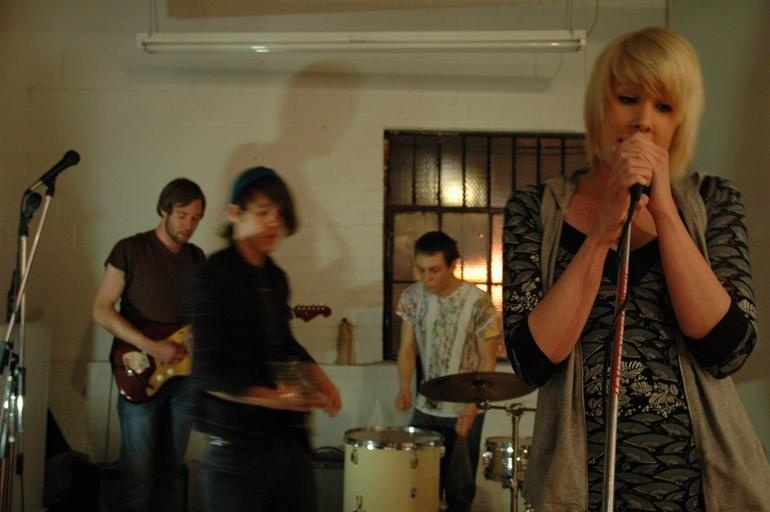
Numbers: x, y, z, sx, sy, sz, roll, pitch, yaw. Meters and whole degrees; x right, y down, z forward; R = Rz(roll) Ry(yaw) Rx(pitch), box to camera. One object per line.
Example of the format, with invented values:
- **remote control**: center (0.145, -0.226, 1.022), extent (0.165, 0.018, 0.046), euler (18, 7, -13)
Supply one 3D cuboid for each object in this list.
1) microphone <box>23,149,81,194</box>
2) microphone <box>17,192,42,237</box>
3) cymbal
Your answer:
- **microphone**: center (-2.338, -0.581, 6.732), extent (0.125, 0.140, 0.438), euler (-19, 26, 28)
- **microphone**: center (-2.359, -0.275, 6.378), extent (0.101, 0.309, 0.189), euler (17, 3, 10)
- **cymbal**: center (0.613, 0.853, 6.143), extent (0.503, 0.106, 0.498), euler (7, -20, -32)
